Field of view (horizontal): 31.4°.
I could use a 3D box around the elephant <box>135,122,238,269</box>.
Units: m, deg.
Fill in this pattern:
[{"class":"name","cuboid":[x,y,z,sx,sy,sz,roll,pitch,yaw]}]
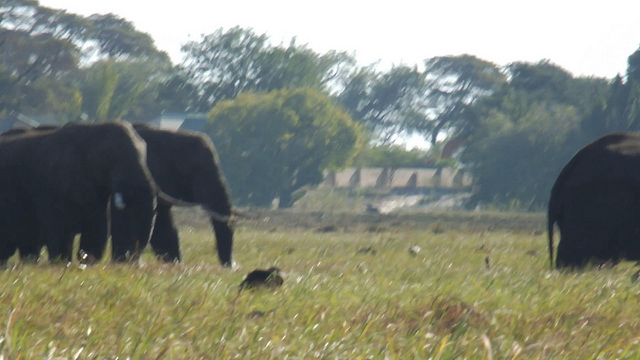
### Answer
[{"class":"elephant","cuboid":[-5.685,0.693,48.859,4.180,6.060,4.267,1,1,-24]}]
